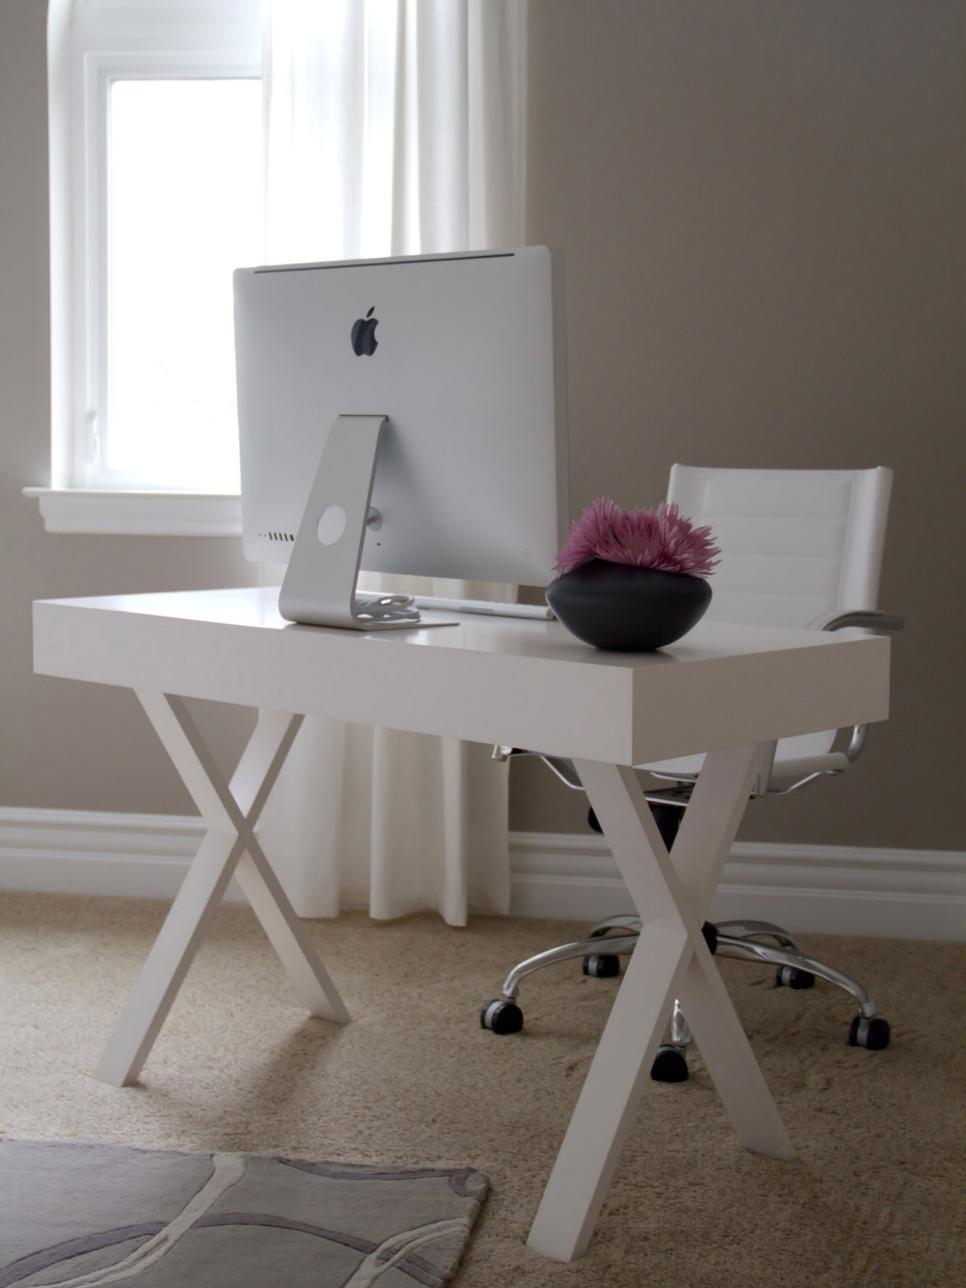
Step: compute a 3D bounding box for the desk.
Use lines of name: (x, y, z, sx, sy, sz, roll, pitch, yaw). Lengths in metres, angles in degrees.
desk: (-0.048, 0.301, 1.599, 0.984, 0.727, 0.538, 3, 4, 39)

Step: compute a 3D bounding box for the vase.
vase: (0.150, -0.048, 1.264, 0.114, 0.058, 0.109, -5, 9, -30)

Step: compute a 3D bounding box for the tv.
tv: (-0.113, -0.273, 1.514, 0.514, 0.394, 0.109, 3, 4, 39)
